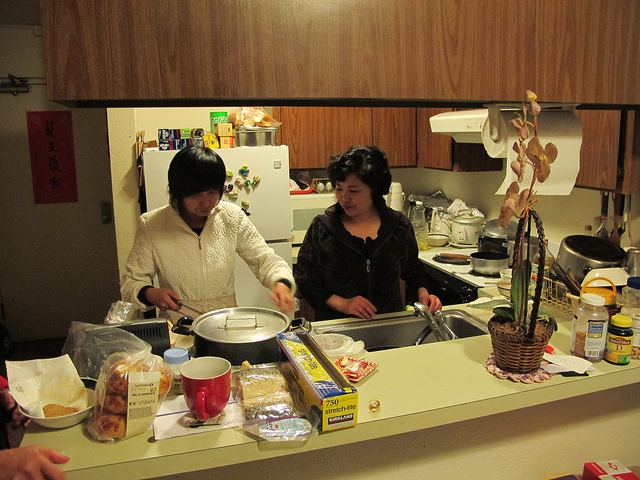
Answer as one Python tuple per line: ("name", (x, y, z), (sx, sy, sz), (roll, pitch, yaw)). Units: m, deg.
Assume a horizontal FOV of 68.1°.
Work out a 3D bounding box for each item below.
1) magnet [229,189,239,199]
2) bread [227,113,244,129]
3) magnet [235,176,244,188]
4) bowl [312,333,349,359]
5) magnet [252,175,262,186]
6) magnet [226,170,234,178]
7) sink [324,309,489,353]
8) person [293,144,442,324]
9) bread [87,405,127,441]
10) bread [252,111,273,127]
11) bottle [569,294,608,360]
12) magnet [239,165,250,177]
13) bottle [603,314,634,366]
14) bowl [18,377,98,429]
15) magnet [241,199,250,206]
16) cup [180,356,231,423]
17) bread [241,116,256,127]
("magnet", (-0.569, -0.309, 3.178), (0.052, 0.052, 0.017), (-28, 23, -18))
("bread", (-0.573, -0.811, 3.231), (0.060, 0.075, 0.109), (32, -2, -29))
("magnet", (-0.544, -0.395, 3.194), (0.040, 0.058, 0.019), (-23, 20, -29))
("bowl", (0.049, 0.370, 1.693), (0.109, 0.040, 0.128), (-10, 15, -24))
("magnet", (-0.434, -0.411, 3.227), (0.037, 0.050, 0.121), (14, 7, -8))
("magnet", (-0.606, -0.442, 3.160), (0.048, 0.078, 0.040), (-2, 32, -11))
("sink", (0.349, 0.409, 1.987), (0.652, 0.139, 0.226), (-3, 14, 0))
("person", (0.245, 0.189, 2.450), (0.770, 1.331, 0.582), (-1, 15, 0))
("bread", (-0.552, 0.478, 1.228), (0.081, 0.096, 0.028), (-4, 2, 11))
("bread", (-0.398, -0.838, 3.276), (0.136, 0.111, 0.140), (-5, 14, -7))
("bottle", (0.865, 0.279, 1.523), (0.097, 0.223, 0.079), (6, 16, 33))
("magnet", (-0.514, -0.471, 3.183), (0.044, 0.057, 0.056), (-4, 34, -48))
("bottle", (0.962, 0.321, 1.527), (0.071, 0.151, 0.063), (7, 17, 36))
("bowl", (-0.710, 0.468, 1.308), (0.196, 0.071, 0.190), (-3, 14, 1))
("magnet", (-0.512, -0.256, 3.238), (0.027, 0.022, 0.036), (32, -10, -12))
("cup", (-0.300, 0.389, 1.300), (0.113, 0.130, 0.174), (1, 21, -1))
("bread", (-0.488, -0.798, 3.209), (0.097, 0.065, 0.041), (-6, 14, -11))
